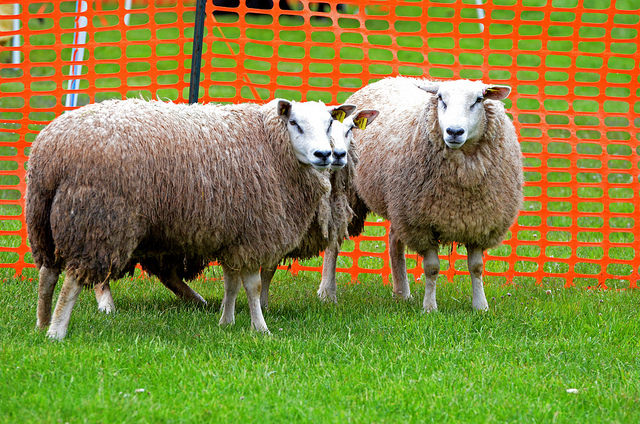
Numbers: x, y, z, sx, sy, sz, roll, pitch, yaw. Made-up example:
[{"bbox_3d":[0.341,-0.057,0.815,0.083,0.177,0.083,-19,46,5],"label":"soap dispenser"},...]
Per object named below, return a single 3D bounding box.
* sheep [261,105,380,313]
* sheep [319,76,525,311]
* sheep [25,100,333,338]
[{"bbox_3d":[-0.650,-0.036,10.953,1.219,2.644,3.362,5,3,-22],"label":"sheep"},{"bbox_3d":[1.383,-0.138,11.346,1.937,2.813,4.090,0,-1,-20],"label":"sheep"},{"bbox_3d":[-1.494,0.041,10.293,4.039,2.526,1.899,-4,3,-32],"label":"sheep"}]
